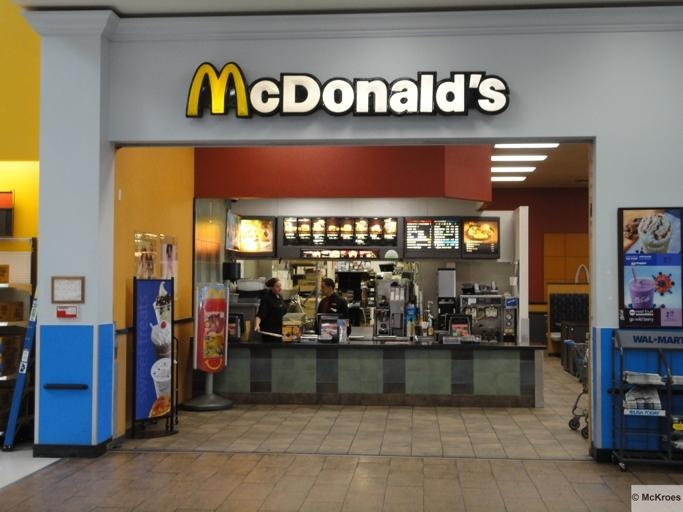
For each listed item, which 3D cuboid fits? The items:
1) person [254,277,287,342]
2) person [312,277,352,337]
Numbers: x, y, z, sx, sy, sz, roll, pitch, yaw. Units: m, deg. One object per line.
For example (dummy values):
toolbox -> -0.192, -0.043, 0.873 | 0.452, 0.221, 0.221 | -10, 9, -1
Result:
person -> -1.073, 0.815, 9.363 | 0.435, 0.925, 0.544 | 0, 1, -6
person -> -0.136, 0.793, 9.969 | 0.563, 0.840, 1.450 | 0, 1, -1
